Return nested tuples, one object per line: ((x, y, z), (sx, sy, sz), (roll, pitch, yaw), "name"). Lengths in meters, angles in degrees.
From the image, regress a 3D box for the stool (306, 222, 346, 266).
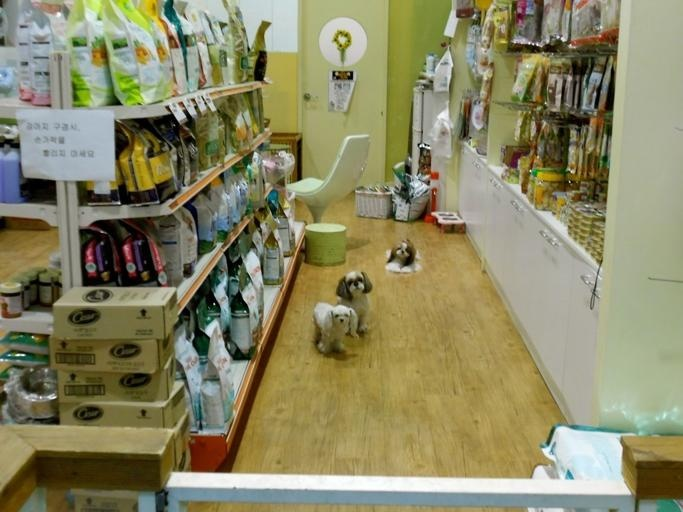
((-0.194, -0.154, 5.520), (0.438, 0.410, 0.475), (3, 19, 6), "stool")

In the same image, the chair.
((-0.239, -0.782, 5.901), (0.930, 1.344, 0.876), (11, 20, 21), "chair")

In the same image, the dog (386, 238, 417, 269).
((0.613, -0.023, 5.199), (0.193, 0.177, 0.349), (0, 13, 4), "dog")

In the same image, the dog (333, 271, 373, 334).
((0.093, 0.340, 4.000), (0.263, 0.545, 0.509), (-8, 12, -5), "dog")

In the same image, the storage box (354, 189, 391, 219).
((0.441, -0.713, 7.024), (0.394, 0.291, 0.430), (2, 17, 7), "storage box")

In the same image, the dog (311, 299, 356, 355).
((-0.085, 0.481, 3.635), (0.216, 0.391, 0.483), (-2, 19, -23), "dog")

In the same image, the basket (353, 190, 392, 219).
((0.436, -0.718, 7.163), (0.395, 0.292, 0.432), (3, 19, 7), "basket")

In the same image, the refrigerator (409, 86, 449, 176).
((1.182, -1.675, 6.752), (0.394, 1.403, 0.730), (1, 27, 1), "refrigerator")
